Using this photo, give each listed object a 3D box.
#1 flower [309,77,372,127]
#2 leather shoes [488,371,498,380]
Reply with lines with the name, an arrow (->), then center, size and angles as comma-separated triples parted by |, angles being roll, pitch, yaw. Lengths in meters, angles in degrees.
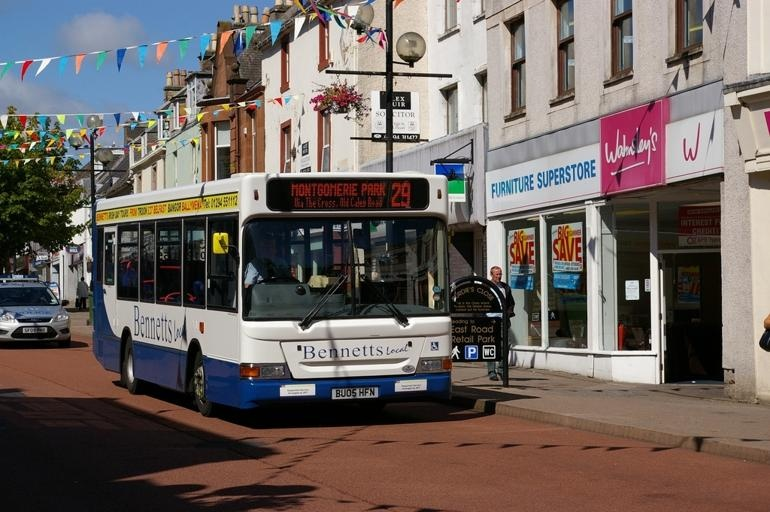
flower -> -1.403, -4.274, 28.102 | 1.021, 0.810, 1.388 | 5, 16, 20
leather shoes -> 2.232, 2.491, 21.374 | 0.160, 0.169, 0.163 | 2, -5, -18
